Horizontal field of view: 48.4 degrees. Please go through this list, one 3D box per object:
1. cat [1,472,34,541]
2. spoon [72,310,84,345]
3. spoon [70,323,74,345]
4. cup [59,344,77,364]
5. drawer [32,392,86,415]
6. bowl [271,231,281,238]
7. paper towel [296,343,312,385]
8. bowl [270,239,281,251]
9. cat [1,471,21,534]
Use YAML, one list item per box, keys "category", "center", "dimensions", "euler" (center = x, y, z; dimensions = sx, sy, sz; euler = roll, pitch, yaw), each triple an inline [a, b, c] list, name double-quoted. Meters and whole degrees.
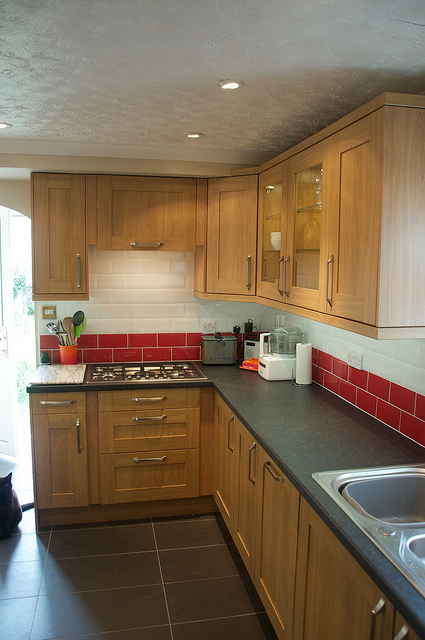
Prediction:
- category: "cat"
  center: [-1.211, 1.112, 2.868]
  dimensions: [0.176, 0.301, 0.253]
  euler: [0, 8, -8]
- category: "spoon"
  center: [-0.937, 0.045, 3.302]
  dimensions: [0.075, 0.223, 0.122]
  euler: [-1, 4, -15]
- category: "spoon"
  center: [-0.970, 0.097, 3.264]
  dimensions: [0.019, 0.116, 0.013]
  euler: [-3, 14, -30]
- category: "cup"
  center: [-0.986, 0.234, 3.239]
  dimensions: [0.118, 0.130, 0.121]
  euler: [2, 8, 0]
- category: "drawer"
  center: [-0.915, 0.492, 2.812]
  dimensions: [0.188, 0.090, 0.172]
  euler: [0, 1, -14]
- category: "bowl"
  center: [0.360, -0.477, 2.656]
  dimensions: [0.039, 0.026, 0.037]
  euler: [1, 6, 0]
- category: "paper towel"
  center: [0.554, 0.263, 2.857]
  dimensions: [0.093, 0.249, 0.103]
  euler: [1, 4, 10]
- category: "bowl"
  center: [0.348, -0.423, 2.668]
  dimensions: [0.059, 0.061, 0.060]
  euler: [1, 13, 0]
- category: "cat"
  center: [-1.224, 1.095, 2.860]
  dimensions: [0.079, 0.357, 0.199]
  euler: [1, 4, 7]
